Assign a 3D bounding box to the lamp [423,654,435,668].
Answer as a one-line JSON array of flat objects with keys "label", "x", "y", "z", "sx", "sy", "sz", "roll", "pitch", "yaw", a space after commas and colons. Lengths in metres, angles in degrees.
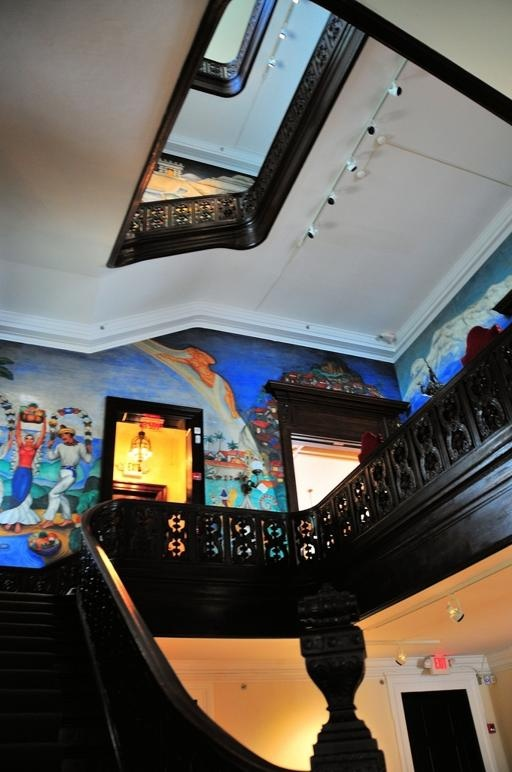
[{"label": "lamp", "x": 2.786, "y": 4.489, "z": 8.412, "sx": 0.181, "sy": 0.233, "sz": 0.244, "roll": 0, "pitch": -7, "yaw": 3}]
